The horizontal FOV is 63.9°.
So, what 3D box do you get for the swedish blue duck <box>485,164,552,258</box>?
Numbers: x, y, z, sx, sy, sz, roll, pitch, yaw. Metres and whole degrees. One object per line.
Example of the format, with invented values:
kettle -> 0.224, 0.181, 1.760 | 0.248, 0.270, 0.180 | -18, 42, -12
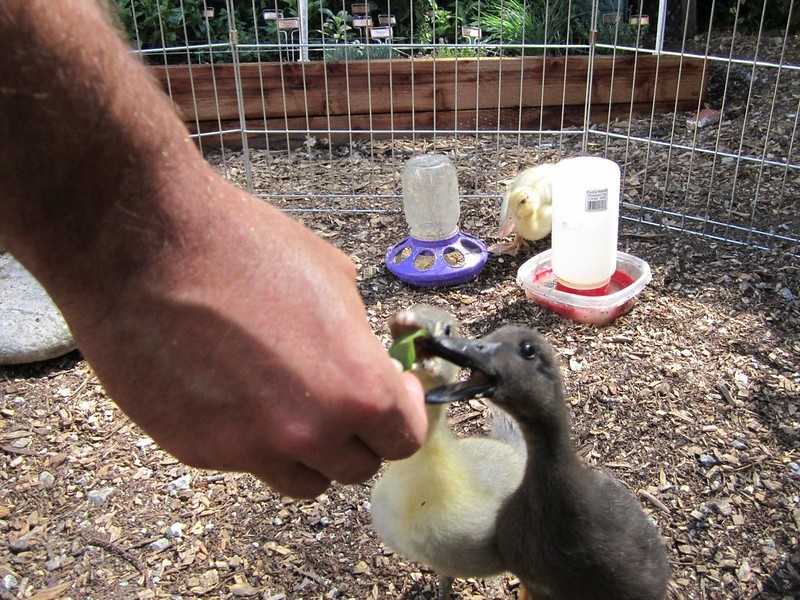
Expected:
swedish blue duck -> 0.801, -0.557, 3.934 | 0.312, 0.586, 0.388 | 20, -2, 38
